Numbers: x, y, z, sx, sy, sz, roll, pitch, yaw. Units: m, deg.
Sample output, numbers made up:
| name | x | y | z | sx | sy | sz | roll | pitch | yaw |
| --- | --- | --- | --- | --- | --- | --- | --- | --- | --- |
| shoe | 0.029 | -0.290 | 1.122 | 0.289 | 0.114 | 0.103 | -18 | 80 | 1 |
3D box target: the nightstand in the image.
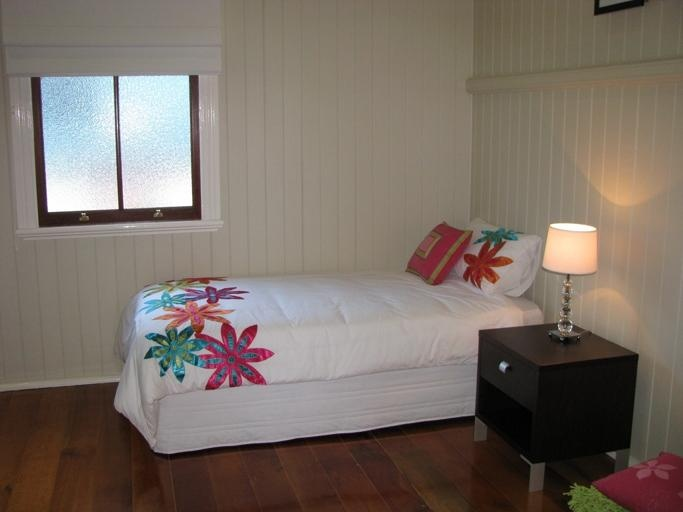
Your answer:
| name | x | y | z | sx | sy | sz | roll | pitch | yaw |
| --- | --- | --- | --- | --- | --- | --- | --- | --- | --- |
| nightstand | 1.151 | 0.772 | 2.987 | 0.708 | 0.702 | 0.545 | -7 | 14 | -15 |

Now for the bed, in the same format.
| name | x | y | z | sx | sy | sz | roll | pitch | yaw |
| --- | --- | --- | --- | --- | --- | --- | --- | --- | --- |
| bed | -0.219 | 0.576 | 3.263 | 1.950 | 0.622 | 1.167 | -6 | 15 | -18 |

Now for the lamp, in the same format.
| name | x | y | z | sx | sy | sz | roll | pitch | yaw |
| --- | --- | --- | --- | --- | --- | --- | --- | --- | --- |
| lamp | 1.273 | 0.154 | 3.051 | 0.264 | 0.623 | 0.260 | 2 | 11 | 9 |
